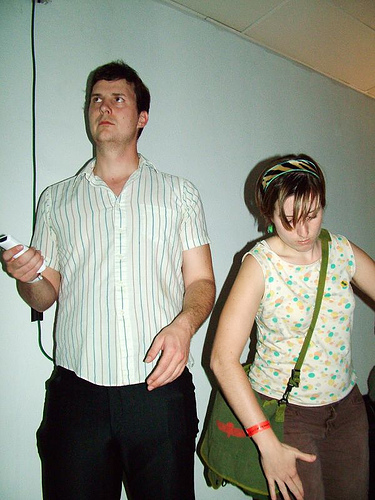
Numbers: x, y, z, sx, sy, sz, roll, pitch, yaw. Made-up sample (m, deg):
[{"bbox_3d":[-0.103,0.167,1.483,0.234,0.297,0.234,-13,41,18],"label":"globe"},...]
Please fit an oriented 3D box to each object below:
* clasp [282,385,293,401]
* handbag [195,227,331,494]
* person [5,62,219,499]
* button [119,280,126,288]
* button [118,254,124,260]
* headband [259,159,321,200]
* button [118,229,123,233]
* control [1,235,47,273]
[{"bbox_3d":[0.284,0.398,1.210,0.034,0.044,0.027,0,4,-3],"label":"clasp"},{"bbox_3d":[0.203,0.330,1.246,0.367,0.738,0.284,2,4,17],"label":"handbag"},{"bbox_3d":[-0.205,0.018,1.280,0.600,1.269,0.521,0,4,-8],"label":"person"},{"bbox_3d":[-0.182,0.096,1.216,0.020,0.020,0.008,-1,4,-22],"label":"button"},{"bbox_3d":[-0.190,0.020,1.236,0.015,0.015,0.006,0,4,-6],"label":"button"},{"bbox_3d":[0.292,-0.204,1.232,0.169,0.115,0.083,1,4,9],"label":"headband"},{"bbox_3d":[-0.196,-0.056,1.268,0.011,0.011,0.007,0,4,-10],"label":"button"},{"bbox_3d":[-0.437,0.010,1.179,0.130,0.062,0.030,41,14,-28],"label":"control"}]
